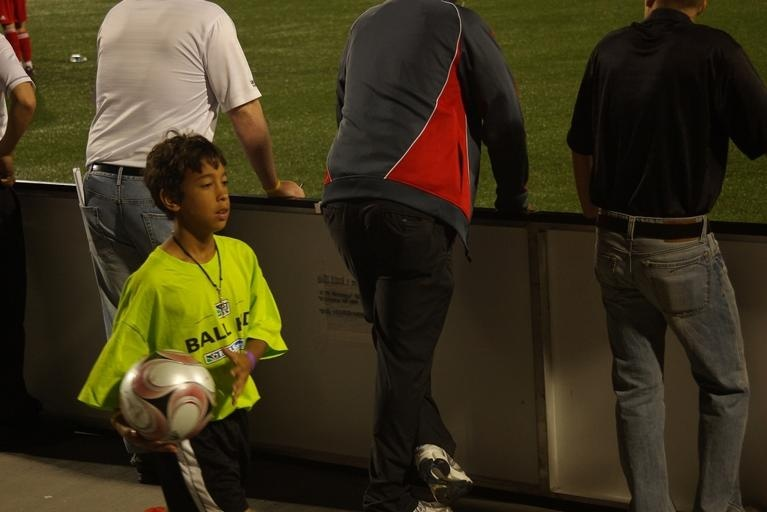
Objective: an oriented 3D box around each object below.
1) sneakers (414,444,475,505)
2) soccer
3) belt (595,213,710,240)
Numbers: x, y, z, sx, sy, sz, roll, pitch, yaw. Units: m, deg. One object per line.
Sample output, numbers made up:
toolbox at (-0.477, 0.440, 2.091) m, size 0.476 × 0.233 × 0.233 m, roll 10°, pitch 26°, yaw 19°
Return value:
sneakers at (0.225, 0.887, 3.847) m, size 0.150 × 0.291 × 0.118 m, roll -44°, pitch 7°, yaw -2°
soccer at (-0.746, 0.469, 3.426) m, size 0.354 × 0.322 × 0.316 m, roll -2°, pitch -1°, yaw 12°
belt at (1.006, -0.115, 3.546) m, size 0.401 × 0.084 × 0.081 m, roll 6°, pitch 19°, yaw 24°
